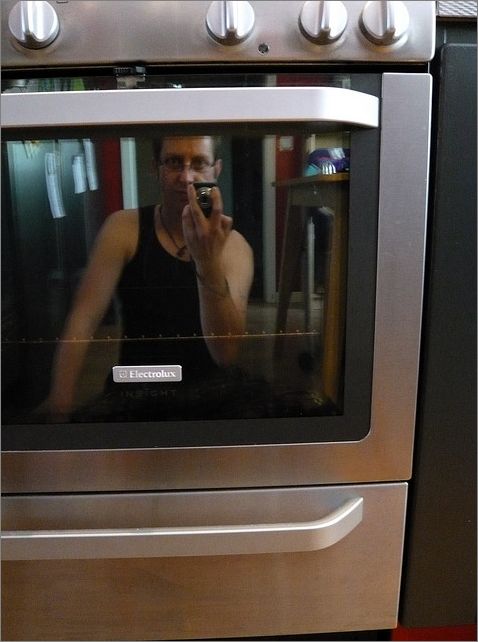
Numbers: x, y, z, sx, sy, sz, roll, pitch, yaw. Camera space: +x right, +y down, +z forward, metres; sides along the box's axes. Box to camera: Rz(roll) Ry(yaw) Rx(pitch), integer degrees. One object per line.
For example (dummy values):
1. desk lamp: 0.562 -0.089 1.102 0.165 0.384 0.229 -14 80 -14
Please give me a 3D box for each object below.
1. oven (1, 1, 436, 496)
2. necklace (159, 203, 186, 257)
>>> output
1. oven: -0.035 -0.119 0.767 0.556 0.544 0.307 0 13 -1
2. necklace: -0.087 -0.118 0.761 0.032 0.065 0.011 -20 21 -26
